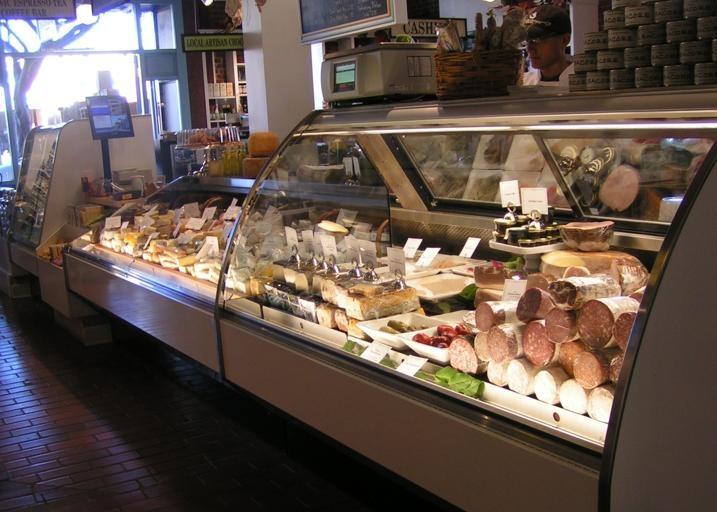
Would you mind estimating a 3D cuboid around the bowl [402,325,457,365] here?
[{"bbox_3d":[0.240,0.326,1.858,0.139,0.066,0.201,-5,15,-4],"label":"bowl"}]

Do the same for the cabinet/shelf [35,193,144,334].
[{"bbox_3d":[-2.212,0.081,4.218,1.201,1.101,0.856,7,10,44],"label":"cabinet/shelf"}]

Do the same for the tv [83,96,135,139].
[{"bbox_3d":[-2.526,-1.383,5.168,0.523,0.499,0.203,-7,11,-36],"label":"tv"}]

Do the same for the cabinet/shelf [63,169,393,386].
[{"bbox_3d":[-1.340,-0.103,3.715,2.161,0.746,0.928,12,37,42],"label":"cabinet/shelf"}]

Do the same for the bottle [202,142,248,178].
[{"bbox_3d":[-0.950,-0.668,3.683,0.288,0.235,0.278,0,5,0],"label":"bottle"}]

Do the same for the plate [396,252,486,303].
[{"bbox_3d":[0.380,0.096,2.355,0.207,0.061,0.274,-15,20,-16],"label":"plate"}]

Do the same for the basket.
[{"bbox_3d":[0.424,-0.648,1.822,0.260,0.122,0.190,1,11,10],"label":"basket"}]

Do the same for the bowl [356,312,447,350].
[{"bbox_3d":[0.153,0.281,2.027,0.177,0.052,0.175,-4,12,1],"label":"bowl"}]
